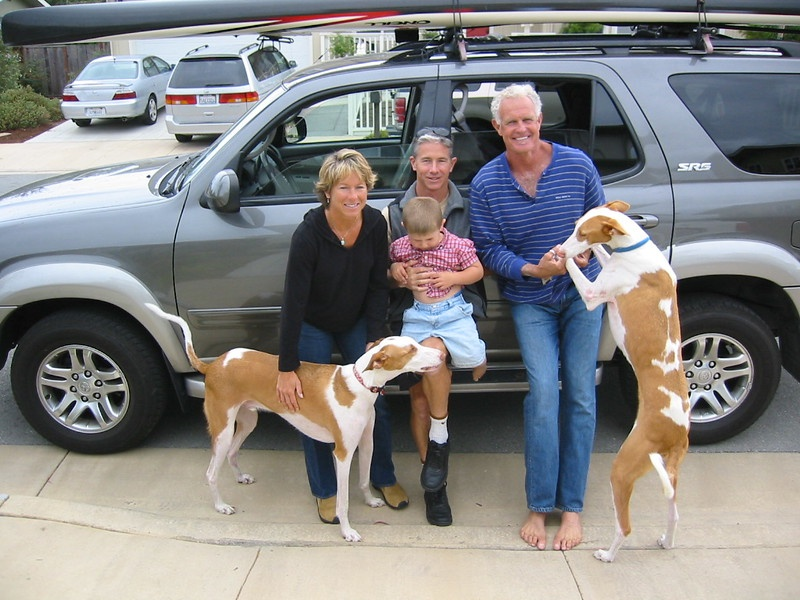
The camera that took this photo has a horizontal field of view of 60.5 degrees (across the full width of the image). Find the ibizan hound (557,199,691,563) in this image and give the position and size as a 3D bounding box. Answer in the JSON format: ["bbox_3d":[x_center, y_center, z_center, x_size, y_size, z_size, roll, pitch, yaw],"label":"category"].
[{"bbox_3d":[1.285,0.390,3.805,0.801,1.823,0.693,1,8,4],"label":"ibizan hound"}]

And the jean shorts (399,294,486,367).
[{"bbox_3d":[0.241,0.177,4.109,0.544,0.434,0.281,-1,15,21],"label":"jean shorts"}]

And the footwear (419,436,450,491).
[{"bbox_3d":[0.214,0.951,4.062,0.134,0.139,0.347,5,35,5],"label":"footwear"}]

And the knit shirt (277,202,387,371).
[{"bbox_3d":[-0.361,-0.135,3.915,0.461,1.113,0.426,-1,8,-9],"label":"knit shirt"}]

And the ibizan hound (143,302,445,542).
[{"bbox_3d":[-0.636,0.734,4.113,1.930,1.163,0.616,3,13,21],"label":"ibizan hound"}]
